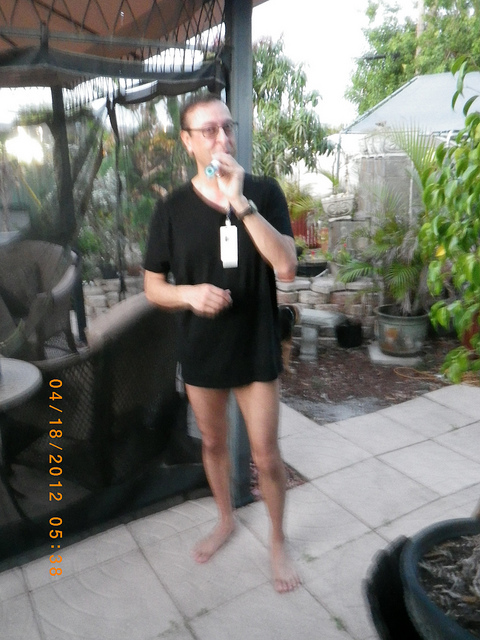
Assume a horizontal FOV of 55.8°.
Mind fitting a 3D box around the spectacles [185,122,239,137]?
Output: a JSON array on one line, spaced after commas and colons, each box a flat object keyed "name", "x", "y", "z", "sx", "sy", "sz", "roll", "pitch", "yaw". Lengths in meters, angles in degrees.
[{"name": "spectacles", "x": -0.095, "y": -0.586, "z": 1.402, "sx": 0.148, "sy": 0.050, "sz": 0.060, "roll": -3, "pitch": 7, "yaw": -7}]

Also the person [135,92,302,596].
[{"name": "person", "x": -0.086, "y": 0.058, "z": 1.676, "sx": 0.607, "sy": 1.900, "sz": 0.700, "roll": -1, "pitch": 7, "yaw": 7}]

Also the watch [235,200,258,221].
[{"name": "watch", "x": 0.030, "y": -0.321, "z": 1.361, "sx": 0.063, "sy": 0.049, "sz": 0.071, "roll": -28, "pitch": 11, "yaw": 12}]

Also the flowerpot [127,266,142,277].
[{"name": "flowerpot", "x": -0.428, "y": -0.199, "z": 1.825, "sx": 0.037, "sy": 0.031, "sz": 0.040, "roll": 2, "pitch": 9, "yaw": -8}]

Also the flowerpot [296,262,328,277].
[{"name": "flowerpot", "x": 1.059, "y": -0.757, "z": 6.663, "sx": 0.444, "sy": 0.196, "sz": 0.168, "roll": 0, "pitch": 7, "yaw": 11}]

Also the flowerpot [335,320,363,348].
[{"name": "flowerpot", "x": 1.293, "y": 0.138, "z": 5.588, "sx": 0.372, "sy": 0.413, "sz": 0.294, "roll": 0, "pitch": 9, "yaw": -1}]

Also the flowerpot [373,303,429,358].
[{"name": "flowerpot", "x": 1.792, "y": 0.142, "z": 5.118, "sx": 0.532, "sy": 0.463, "sz": 0.591, "roll": -1, "pitch": 14, "yaw": 2}]

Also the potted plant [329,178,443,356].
[{"name": "potted plant", "x": 1.783, "y": -0.605, "z": 5.112, "sx": 1.110, "sy": 1.884, "sz": 1.167, "roll": -5, "pitch": 17, "yaw": -28}]

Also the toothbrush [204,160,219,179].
[{"name": "toothbrush", "x": -0.079, "y": -0.429, "z": 1.281, "sx": 0.038, "sy": 0.045, "sz": 0.034, "roll": 0, "pitch": 7, "yaw": 9}]
